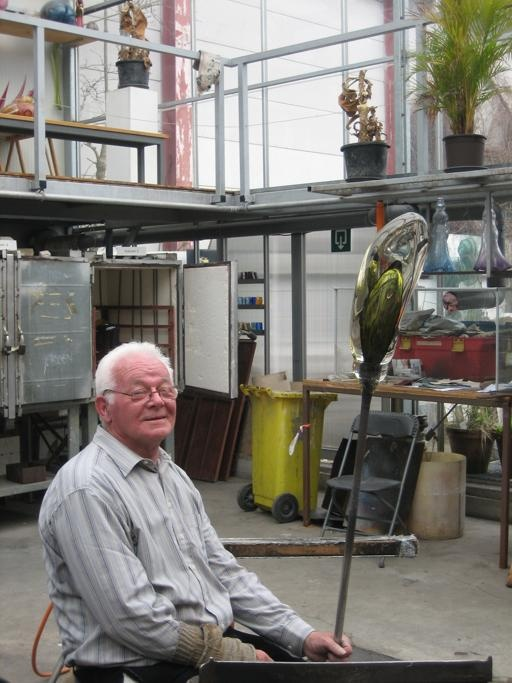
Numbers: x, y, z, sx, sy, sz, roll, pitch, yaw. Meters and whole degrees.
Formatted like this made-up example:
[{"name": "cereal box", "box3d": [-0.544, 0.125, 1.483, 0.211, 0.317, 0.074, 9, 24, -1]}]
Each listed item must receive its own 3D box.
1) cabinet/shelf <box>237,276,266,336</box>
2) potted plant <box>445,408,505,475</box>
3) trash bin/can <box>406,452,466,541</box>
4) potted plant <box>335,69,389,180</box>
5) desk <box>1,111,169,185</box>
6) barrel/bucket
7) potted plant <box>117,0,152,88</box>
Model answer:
[{"name": "cabinet/shelf", "box3d": [-0.042, -0.359, 9.102, 0.364, 0.595, 0.137, 4, 7, 45]}, {"name": "potted plant", "box3d": [1.654, 0.687, 7.297, 0.397, 0.609, 0.551, 0, -2, 27]}, {"name": "trash bin/can", "box3d": [1.174, 1.085, 6.675, 0.438, 0.567, 0.487, 0, -3, 5]}, {"name": "potted plant", "box3d": [0.731, -1.513, 6.776, 0.323, 0.788, 0.504, -4, 6, -30]}, {"name": "desk", "box3d": [-1.403, -1.550, 7.871, 1.312, 0.519, 0.714, -2, 5, -6]}, {"name": "barrel/bucket", "box3d": [1.177, 1.084, 6.653, 0.436, 0.564, 0.488, 0, -3, 5]}, {"name": "potted plant", "box3d": [-1.083, -2.610, 8.475, 0.310, 0.817, 0.449, -2, 5, -9]}]
